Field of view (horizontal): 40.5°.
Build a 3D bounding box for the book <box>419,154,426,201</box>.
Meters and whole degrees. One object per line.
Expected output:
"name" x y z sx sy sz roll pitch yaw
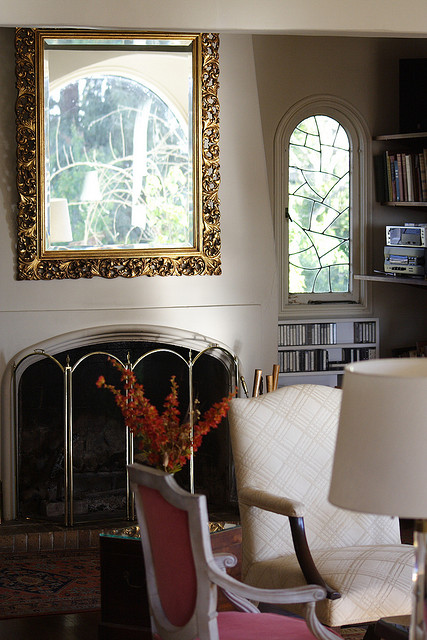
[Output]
"book" 1.497 -1.018 4.137 0.022 0.331 0.051 -3 3 -22
